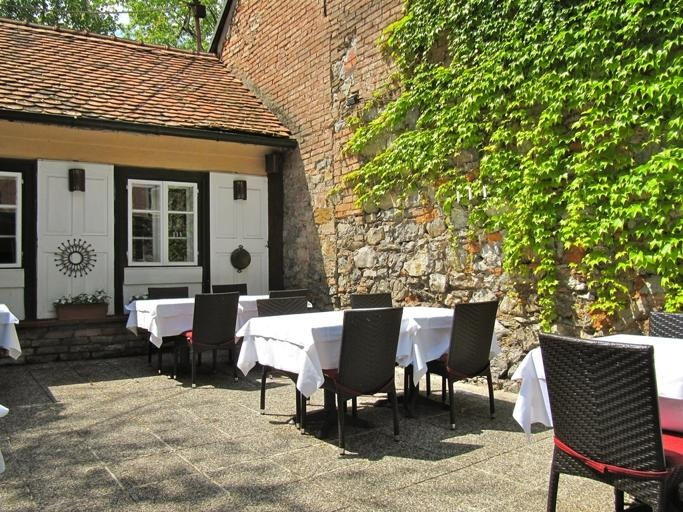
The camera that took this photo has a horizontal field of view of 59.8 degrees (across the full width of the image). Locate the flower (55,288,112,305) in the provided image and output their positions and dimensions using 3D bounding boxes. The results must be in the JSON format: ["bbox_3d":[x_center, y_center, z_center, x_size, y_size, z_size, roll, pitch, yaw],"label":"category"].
[{"bbox_3d":[-3.651,0.614,8.435,0.732,0.191,0.373,-3,7,-26],"label":"flower"}]
